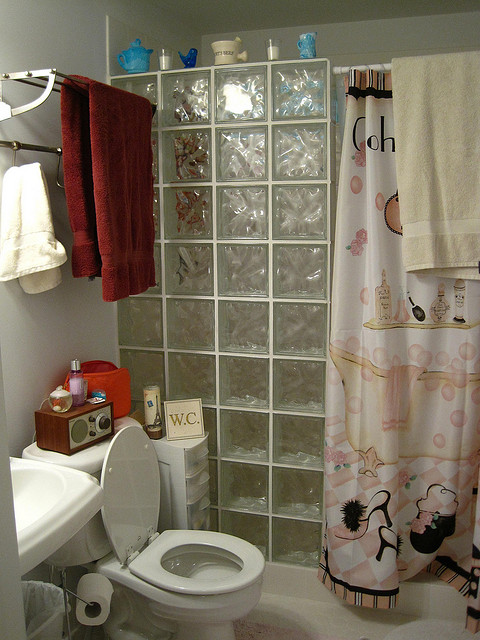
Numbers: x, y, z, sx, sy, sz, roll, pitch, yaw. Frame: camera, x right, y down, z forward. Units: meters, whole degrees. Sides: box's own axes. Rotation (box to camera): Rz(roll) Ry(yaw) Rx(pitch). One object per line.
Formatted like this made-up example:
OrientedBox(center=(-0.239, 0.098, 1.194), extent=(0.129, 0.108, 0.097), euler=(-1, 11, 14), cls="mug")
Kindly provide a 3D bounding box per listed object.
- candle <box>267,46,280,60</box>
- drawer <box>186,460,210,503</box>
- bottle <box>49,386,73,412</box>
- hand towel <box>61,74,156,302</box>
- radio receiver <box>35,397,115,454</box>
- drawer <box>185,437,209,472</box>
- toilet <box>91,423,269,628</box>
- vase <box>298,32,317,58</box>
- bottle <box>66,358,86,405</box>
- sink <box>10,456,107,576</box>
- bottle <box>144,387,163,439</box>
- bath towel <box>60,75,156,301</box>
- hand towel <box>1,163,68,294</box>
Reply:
OrientedBox(center=(0.122, -0.986, 2.028), extent=(0.042, 0.046, 0.051), euler=(-1, 9, 5), cls="candle")
OrientedBox(center=(-0.159, 0.622, 2.121), extent=(0.096, 0.104, 0.151), euler=(-3, 11, 21), cls="drawer")
OrientedBox(center=(-0.569, 0.247, 1.735), extent=(0.064, 0.079, 0.063), euler=(3, 2, 0), cls="bottle")
OrientedBox(center=(-0.449, -0.433, 1.831), extent=(0.124, 0.856, 0.371), euler=(3, 7, 25), cls="hand towel")
OrientedBox(center=(-0.534, 0.339, 1.795), extent=(0.146, 0.124, 0.219), euler=(4, 8, 29), cls="radio receiver")
OrientedBox(center=(-0.163, 0.516, 2.104), extent=(0.080, 0.100, 0.137), euler=(2, 10, 18), cls="drawer")
OrientedBox(center=(-0.187, 0.730, 1.786), extent=(0.497, 0.675, 0.395), euler=(1, 4, 15), cls="toilet")
OrientedBox(center=(0.234, -0.998, 2.007), extent=(0.081, 0.095, 0.083), euler=(-3, 11, -9), cls="vase")
OrientedBox(center=(-0.563, 0.199, 1.878), extent=(0.060, 0.140, 0.143), euler=(-5, 9, -19), cls="bottle")
OrientedBox(center=(-0.474, 0.483, 1.363), extent=(0.223, 0.092, 0.251), euler=(1, 18, 17), cls="sink")
OrientedBox(center=(-0.329, 0.366, 2.146), extent=(0.070, 0.216, 0.067), euler=(-7, -5, -1), cls="bottle")
OrientedBox(center=(-0.430, -0.460, 1.927), extent=(0.170, 0.688, 0.441), euler=(4, 13, 17), cls="bath towel")
OrientedBox(center=(-0.626, -0.280, 1.637), extent=(0.231, 0.362, 0.117), euler=(-12, 23, -43), cls="hand towel")
